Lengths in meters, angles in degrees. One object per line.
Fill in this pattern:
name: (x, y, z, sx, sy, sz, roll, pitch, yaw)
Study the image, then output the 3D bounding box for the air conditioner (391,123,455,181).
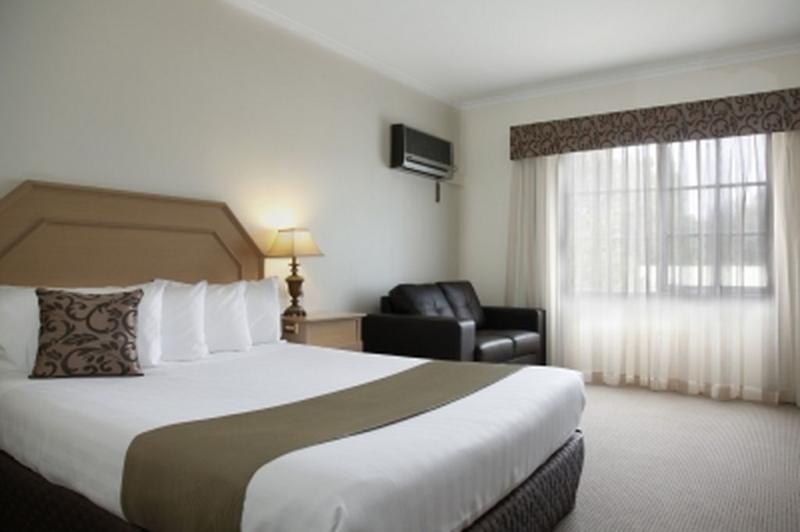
air conditioner: (0.271, -1.262, 6.136, 0.160, 0.461, 0.974, 2, 1, 37)

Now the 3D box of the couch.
couch: (0.460, 0.581, 5.303, 0.896, 0.924, 1.621, -8, -9, 38)

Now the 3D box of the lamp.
lamp: (-0.888, 0.123, 4.658, 0.389, 0.844, 0.410, -1, -3, 39)
